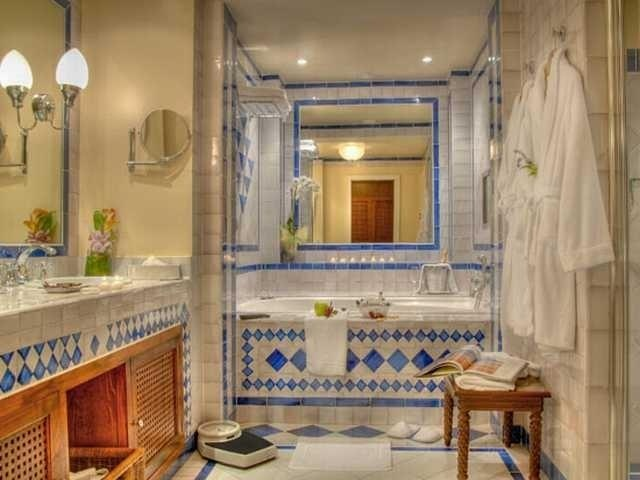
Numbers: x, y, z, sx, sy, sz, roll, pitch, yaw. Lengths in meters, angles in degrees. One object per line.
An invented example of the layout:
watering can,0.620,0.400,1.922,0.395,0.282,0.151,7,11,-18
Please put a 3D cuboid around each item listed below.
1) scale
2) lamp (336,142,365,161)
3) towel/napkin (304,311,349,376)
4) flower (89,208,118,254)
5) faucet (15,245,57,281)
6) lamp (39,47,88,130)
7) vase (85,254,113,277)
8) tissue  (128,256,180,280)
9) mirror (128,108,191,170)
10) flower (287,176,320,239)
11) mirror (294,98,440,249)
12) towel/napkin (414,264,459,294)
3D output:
scale,-0.554,1.320,3.969,0.537,0.201,0.291,0,2,35
lamp,0.301,-0.865,5.902,0.174,0.151,0.188,0,0,8
towel/napkin,0.042,0.743,4.285,0.304,0.398,0.090,-1,1,-1
flower,-1.398,-0.065,3.966,0.178,0.299,0.229,-1,1,-23
faucet,-1.574,0.122,3.419,0.200,0.206,0.753,-1,1,-23
lamp,-1.563,-0.927,3.713,0.267,0.474,0.350,-2,2,-31
vase,-1.387,0.162,3.873,0.123,0.146,0.138,-1,-2,16
tissue ,-1.038,0.184,3.833,0.224,0.102,0.176,1,-1,27
mirror,-1.124,-0.653,4.036,0.077,0.298,0.343,-9,23,35
flower,-0.106,-0.315,5.952,0.246,0.451,0.304,12,0,-3
mirror,0.481,-0.629,5.845,1.218,1.426,0.108,-1,2,6
towel/napkin,1.071,0.329,5.637,0.352,0.292,0.192,-1,13,7
